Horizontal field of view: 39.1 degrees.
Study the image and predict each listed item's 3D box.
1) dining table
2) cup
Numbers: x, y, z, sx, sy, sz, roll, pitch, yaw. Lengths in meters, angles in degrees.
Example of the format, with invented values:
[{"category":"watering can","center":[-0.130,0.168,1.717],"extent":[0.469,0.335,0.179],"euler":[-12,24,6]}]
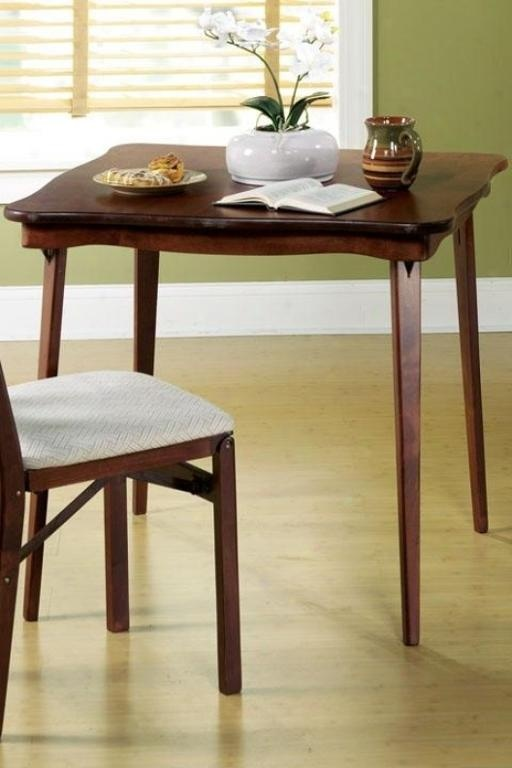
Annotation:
[{"category":"dining table","center":[-0.024,-0.144,1.615],"extent":[1.069,1.022,0.982],"euler":[2,12,14]},{"category":"cup","center":[0.259,-0.415,1.331],"extent":[0.091,0.125,0.152],"euler":[-12,32,-18]}]
